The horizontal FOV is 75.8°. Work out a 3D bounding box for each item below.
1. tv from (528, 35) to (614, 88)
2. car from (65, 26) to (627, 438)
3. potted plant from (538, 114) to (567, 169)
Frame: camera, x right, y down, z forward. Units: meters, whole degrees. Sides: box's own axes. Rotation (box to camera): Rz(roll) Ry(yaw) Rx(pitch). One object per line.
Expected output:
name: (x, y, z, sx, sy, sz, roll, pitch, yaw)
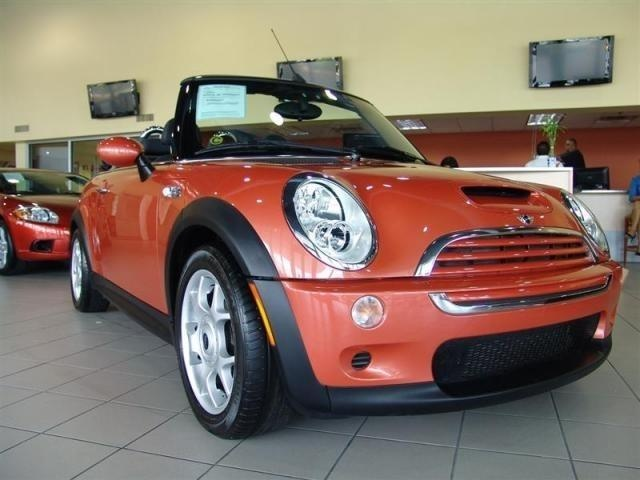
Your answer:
tv: (3.726, -2.617, 5.998, 0.980, 0.520, 0.095, 0, 3, 14)
car: (-0.266, -0.071, 2.027, 1.440, 0.921, 2.369, 3, 0, -36)
potted plant: (2.889, -1.241, 5.126, 0.269, 0.483, 0.247, -2, 5, 7)
